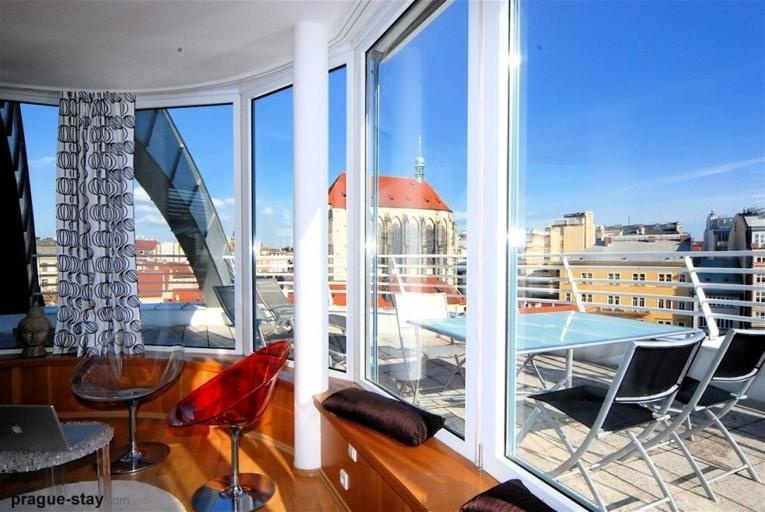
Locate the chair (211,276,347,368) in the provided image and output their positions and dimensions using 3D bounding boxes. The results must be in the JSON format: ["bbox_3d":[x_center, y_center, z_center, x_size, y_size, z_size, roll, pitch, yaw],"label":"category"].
[{"bbox_3d":[-0.926,0.565,4.436,0.587,0.582,1.343,-3,1,-41],"label":"chair"}]

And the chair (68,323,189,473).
[{"bbox_3d":[-2.097,1.200,4.219,0.830,0.968,0.734,-4,-5,-10],"label":"chair"}]

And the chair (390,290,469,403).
[{"bbox_3d":[0.288,0.538,3.215,0.530,0.819,0.634,-1,-2,-17],"label":"chair"}]
